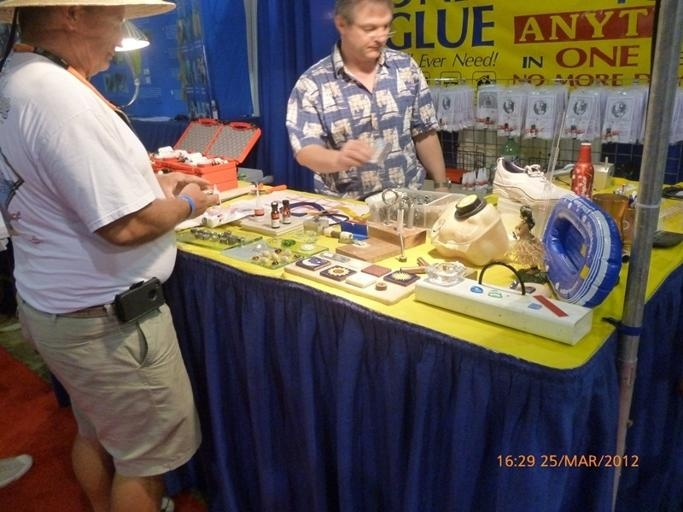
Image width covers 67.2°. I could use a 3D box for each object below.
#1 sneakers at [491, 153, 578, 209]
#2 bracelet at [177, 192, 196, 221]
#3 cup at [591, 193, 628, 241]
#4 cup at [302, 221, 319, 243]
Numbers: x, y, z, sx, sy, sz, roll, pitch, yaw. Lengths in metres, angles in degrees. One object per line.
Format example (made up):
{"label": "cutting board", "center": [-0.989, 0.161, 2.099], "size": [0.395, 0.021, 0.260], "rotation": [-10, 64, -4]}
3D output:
{"label": "sneakers", "center": [0.702, -0.294, 1.956], "size": [0.336, 0.160, 0.138], "rotation": [17, 29, 27]}
{"label": "bracelet", "center": [-0.534, -0.175, 1.794], "size": [0.072, 0.082, 0.061], "rotation": [-1, -10, -9]}
{"label": "cup", "center": [0.906, -0.130, 1.725], "size": [0.097, 0.147, 0.107], "rotation": [-17, 31, 10]}
{"label": "cup", "center": [-0.131, -0.105, 2.240], "size": [0.060, 0.118, 0.061], "rotation": [-1, 17, 0]}
